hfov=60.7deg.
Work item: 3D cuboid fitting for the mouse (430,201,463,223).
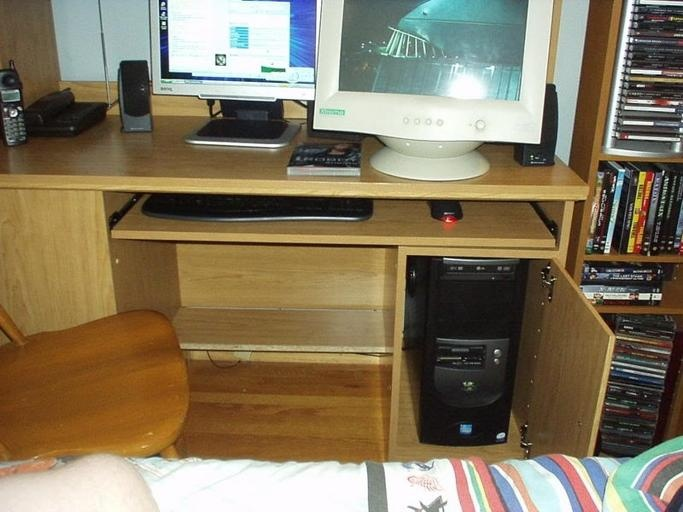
[{"bbox_3d":[0.304,-0.133,1.698,0.092,0.060,0.123,1,11,7],"label":"mouse"}]
